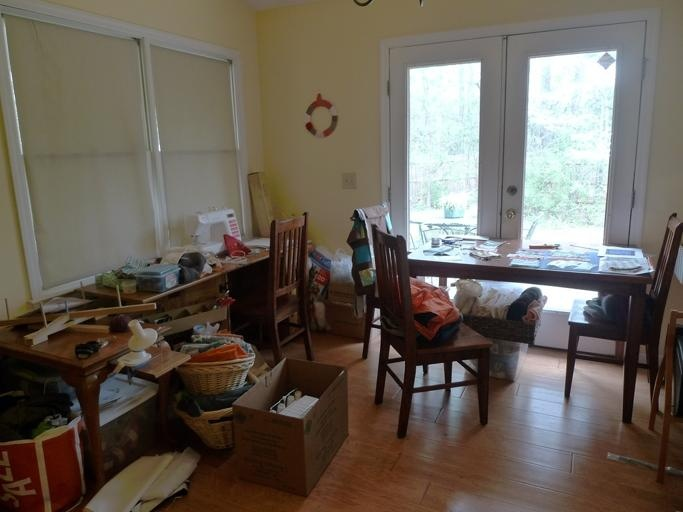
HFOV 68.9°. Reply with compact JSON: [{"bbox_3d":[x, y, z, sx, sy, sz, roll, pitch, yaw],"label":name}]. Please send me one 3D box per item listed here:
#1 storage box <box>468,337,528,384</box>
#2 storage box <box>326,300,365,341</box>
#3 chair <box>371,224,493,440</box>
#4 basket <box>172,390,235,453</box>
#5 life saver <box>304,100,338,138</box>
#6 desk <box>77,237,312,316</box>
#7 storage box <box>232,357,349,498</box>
[{"bbox_3d":[1.120,0.716,3.538,0.354,0.361,0.368,4,11,26],"label":"storage box"},{"bbox_3d":[0.016,0.536,4.123,0.304,0.237,0.297,-3,7,-40],"label":"storage box"},{"bbox_3d":[0.540,0.401,3.081,0.704,1.166,0.682,-1,11,3],"label":"chair"},{"bbox_3d":[-0.777,0.937,2.762,0.369,0.329,0.128,-1,13,12],"label":"basket"},{"bbox_3d":[-0.176,-1.199,4.292,0.309,0.352,0.063,3,15,30],"label":"life saver"},{"bbox_3d":[-0.880,0.184,3.331,0.770,0.482,1.254,7,17,41],"label":"desk"},{"bbox_3d":[-0.259,0.911,2.750,0.410,0.515,0.564,3,15,28],"label":"storage box"}]
